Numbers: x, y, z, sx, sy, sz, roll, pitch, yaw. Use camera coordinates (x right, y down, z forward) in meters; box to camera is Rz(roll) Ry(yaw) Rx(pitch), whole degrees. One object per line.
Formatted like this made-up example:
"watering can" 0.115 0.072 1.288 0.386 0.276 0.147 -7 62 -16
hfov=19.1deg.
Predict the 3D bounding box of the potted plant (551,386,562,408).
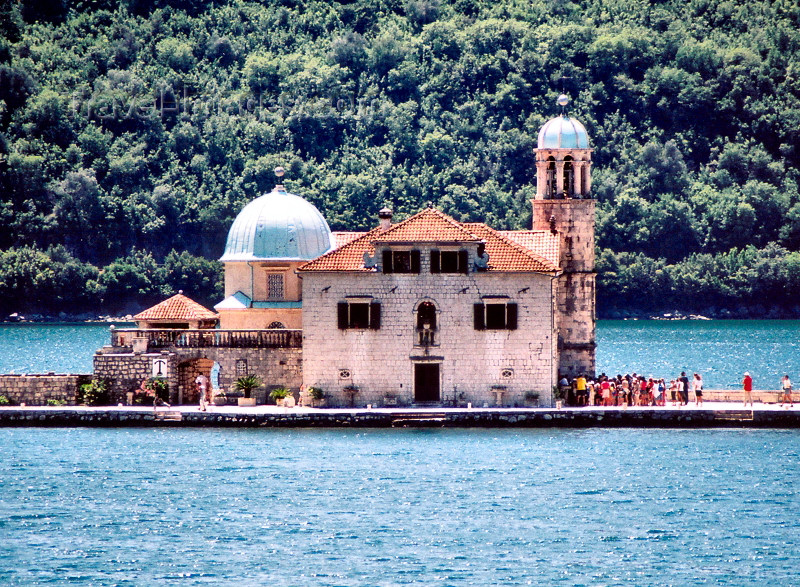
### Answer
"potted plant" 16.026 10.459 235.188 0.912 2.229 3.047 -1 -3 4
